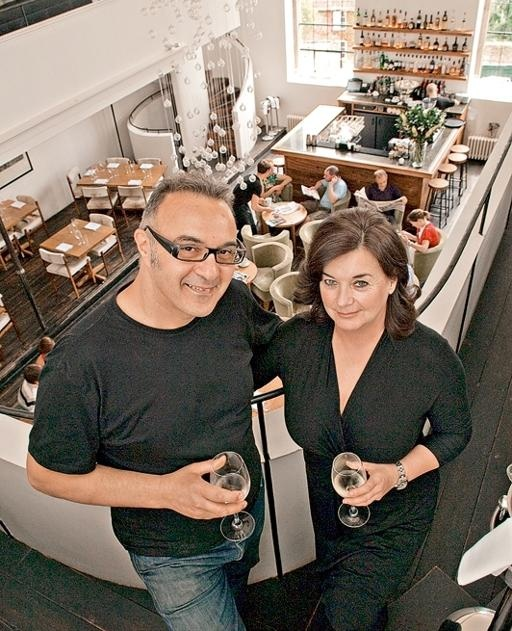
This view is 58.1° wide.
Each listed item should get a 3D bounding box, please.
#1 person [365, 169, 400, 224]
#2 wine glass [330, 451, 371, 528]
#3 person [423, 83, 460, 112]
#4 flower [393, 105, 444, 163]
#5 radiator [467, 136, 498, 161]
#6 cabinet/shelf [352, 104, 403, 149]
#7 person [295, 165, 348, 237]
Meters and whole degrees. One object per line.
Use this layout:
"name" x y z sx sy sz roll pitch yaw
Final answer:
"person" 2.039 -1.947 7.447 0.765 0.740 0.544 3 16 6
"wine glass" 0.332 0.617 1.615 0.123 0.242 0.113 6 29 29
"person" 3.972 -4.759 9.977 0.729 0.455 0.860 6 35 17
"flower" 2.706 -3.076 7.843 0.672 0.885 0.808 3 36 14
"radiator" 4.932 -3.715 10.287 0.591 0.545 0.253 17 42 30
"cabinet/shelf" 2.851 -4.182 10.407 0.570 0.828 1.014 -31 44 -24
"person" 1.173 -2.042 8.054 0.931 1.053 0.818 -14 47 -13
